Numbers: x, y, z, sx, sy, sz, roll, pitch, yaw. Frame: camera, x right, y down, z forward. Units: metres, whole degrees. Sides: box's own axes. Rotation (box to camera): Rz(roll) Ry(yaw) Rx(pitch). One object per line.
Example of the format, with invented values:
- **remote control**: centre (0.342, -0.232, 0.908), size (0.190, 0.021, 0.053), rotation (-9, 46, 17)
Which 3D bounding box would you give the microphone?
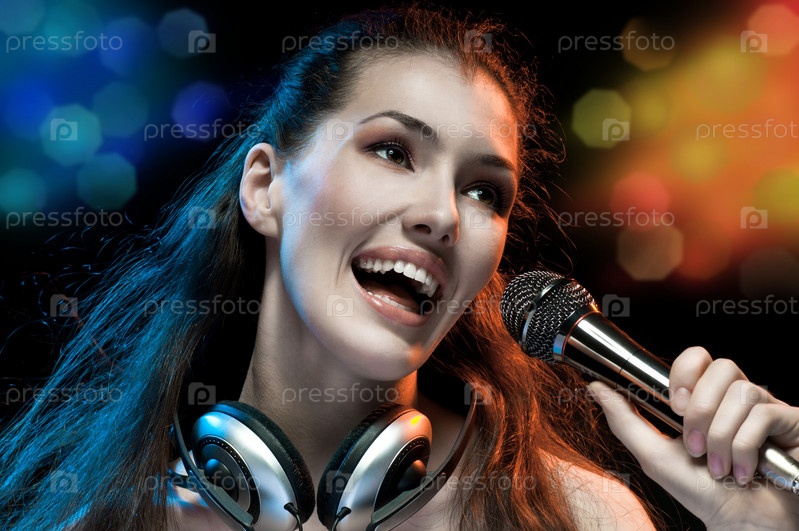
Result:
- **microphone**: centre (0.697, 0.305, 2.101), size (0.777, 0.194, 0.209), rotation (38, -31, 19)
